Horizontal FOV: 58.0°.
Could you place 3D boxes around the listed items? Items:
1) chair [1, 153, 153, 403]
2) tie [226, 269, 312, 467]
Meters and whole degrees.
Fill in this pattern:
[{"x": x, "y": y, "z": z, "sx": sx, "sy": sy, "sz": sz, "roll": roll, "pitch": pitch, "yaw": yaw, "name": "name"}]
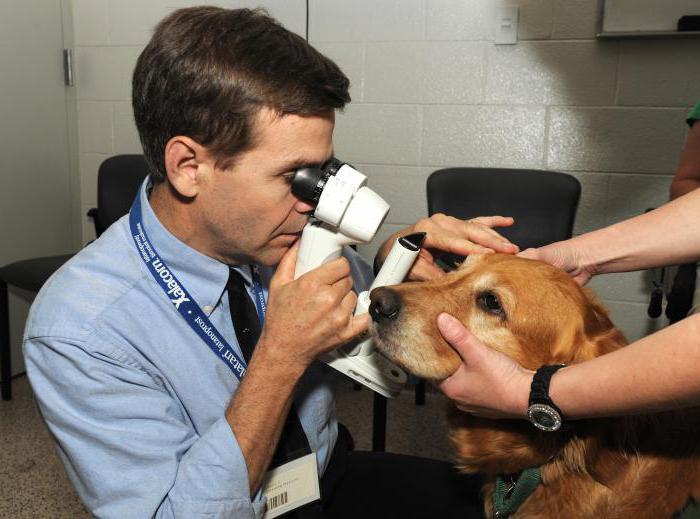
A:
[{"x": -1.592, "y": 0.066, "z": 3.946, "sx": 1.002, "sy": 1.405, "sz": 1.027, "roll": -5, "pitch": 18, "yaw": -24, "name": "chair"}, {"x": -0.291, "y": 0.310, "z": 2.113, "sx": 0.203, "sy": 0.709, "sz": 0.191, "roll": -15, "pitch": -3, "yaw": -27, "name": "tie"}]
